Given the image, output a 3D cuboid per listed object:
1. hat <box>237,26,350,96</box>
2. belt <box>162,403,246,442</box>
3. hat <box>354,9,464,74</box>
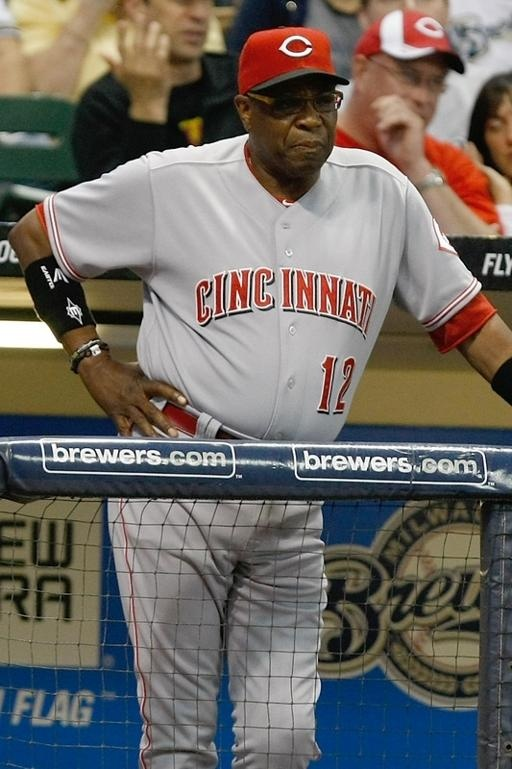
[{"bbox_3d":[0.069,-0.629,2.710,0.210,0.128,0.173,-2,39,-3],"label":"hat"},{"bbox_3d":[-0.119,0.070,2.694,0.114,0.089,0.048,25,84,55],"label":"belt"},{"bbox_3d":[0.425,-0.948,3.840,0.211,0.151,0.282,-3,6,-33],"label":"hat"}]
